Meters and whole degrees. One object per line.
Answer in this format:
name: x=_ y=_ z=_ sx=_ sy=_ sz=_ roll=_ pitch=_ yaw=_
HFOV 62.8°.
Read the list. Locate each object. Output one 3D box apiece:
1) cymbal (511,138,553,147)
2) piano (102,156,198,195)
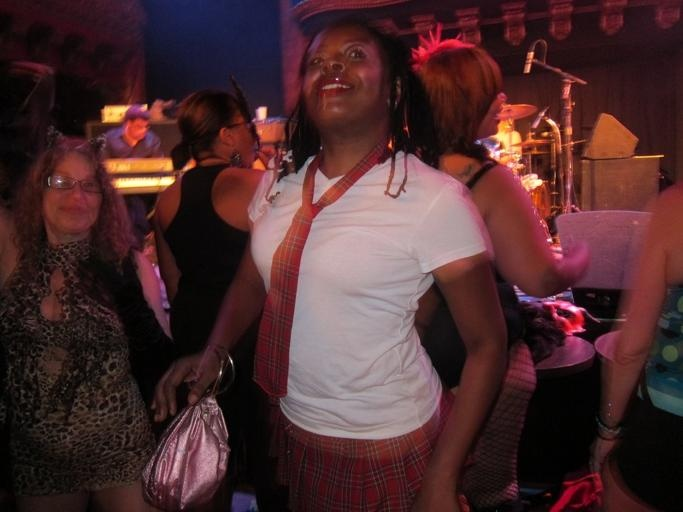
cymbal: x=2.617 y=-1.550 z=7.723 sx=0.364 sy=0.093 sz=0.369 roll=5 pitch=23 yaw=41
piano: x=-1.616 y=-0.638 z=4.890 sx=0.891 sy=0.328 sz=0.265 roll=3 pitch=-10 yaw=25
